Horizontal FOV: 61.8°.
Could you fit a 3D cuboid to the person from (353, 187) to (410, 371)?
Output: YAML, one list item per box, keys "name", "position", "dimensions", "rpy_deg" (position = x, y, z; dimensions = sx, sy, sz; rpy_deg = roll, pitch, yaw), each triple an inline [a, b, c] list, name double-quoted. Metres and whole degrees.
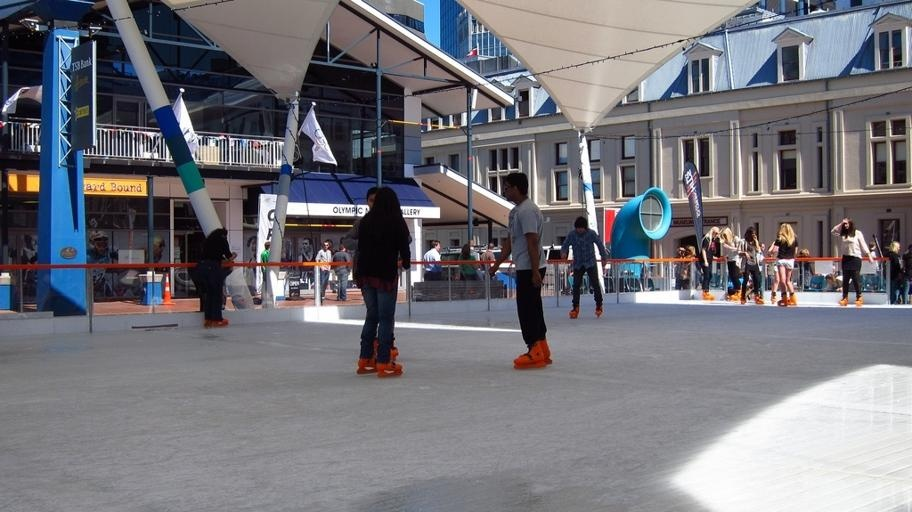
- name: "person"
  position: [-1.270, 0.434, 13.256]
  dimensions: [0.954, 3.185, 0.817]
  rpy_deg: [-1, 7, -8]

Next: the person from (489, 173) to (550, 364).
- name: "person"
  position: [1.249, 0.237, 13.843]
  dimensions: [0.859, 3.450, 1.022]
  rpy_deg: [-2, 7, -13]

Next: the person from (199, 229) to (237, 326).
- name: "person"
  position: [-6.689, 0.561, 21.173]
  dimensions: [0.885, 2.618, 0.970]
  rpy_deg: [-1, 7, -2]

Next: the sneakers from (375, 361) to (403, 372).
- name: "sneakers"
  position: [-1.145, 1.926, 13.198]
  dimensions: [0.332, 0.215, 0.198]
  rpy_deg: [-5, 6, -9]
